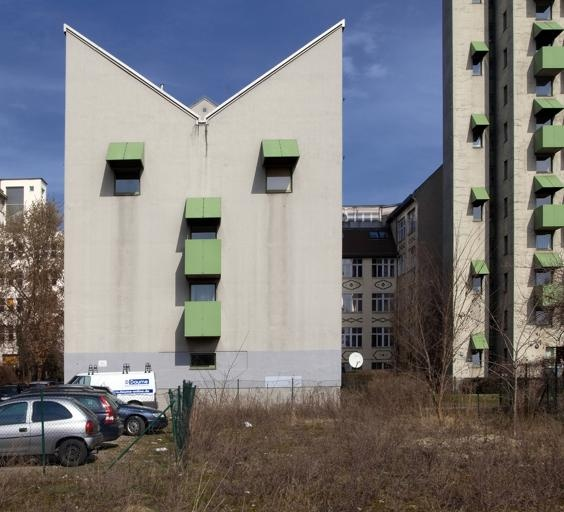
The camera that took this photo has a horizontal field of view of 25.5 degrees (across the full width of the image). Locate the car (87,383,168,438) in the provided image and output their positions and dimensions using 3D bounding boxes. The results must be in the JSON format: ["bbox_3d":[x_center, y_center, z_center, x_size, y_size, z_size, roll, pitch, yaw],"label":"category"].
[{"bbox_3d":[-6.546,6.893,54.818,2.870,1.590,1.717,-1,-6,0],"label":"car"}]
